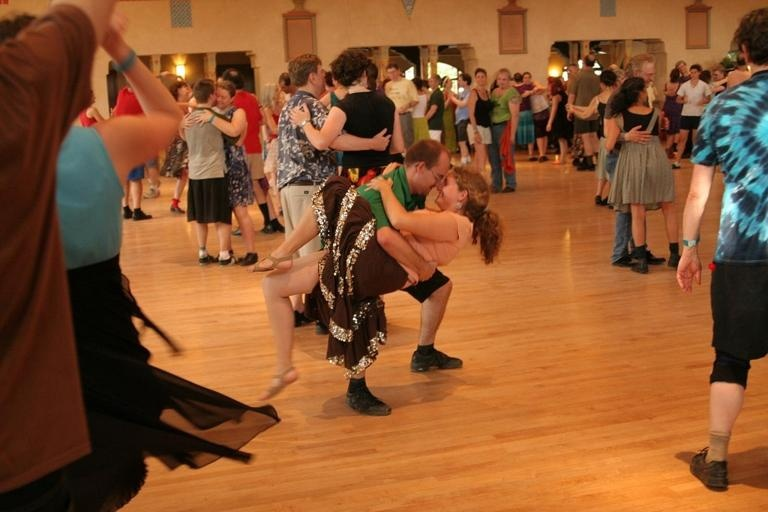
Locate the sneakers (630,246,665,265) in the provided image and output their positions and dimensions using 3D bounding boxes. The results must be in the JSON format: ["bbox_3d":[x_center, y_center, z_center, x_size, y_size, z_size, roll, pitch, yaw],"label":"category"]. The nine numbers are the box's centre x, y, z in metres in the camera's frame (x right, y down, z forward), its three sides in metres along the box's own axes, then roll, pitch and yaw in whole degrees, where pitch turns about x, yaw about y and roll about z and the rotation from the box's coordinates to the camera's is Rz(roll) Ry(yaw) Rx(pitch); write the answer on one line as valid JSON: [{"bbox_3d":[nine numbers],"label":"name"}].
[{"bbox_3d":[2.507,-0.004,6.157,0.465,0.190,0.155,-1,11,-3],"label":"sneakers"}]

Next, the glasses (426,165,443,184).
[{"bbox_3d":[0.285,-0.453,3.503,0.085,0.047,0.107,-8,0,-31],"label":"glasses"}]

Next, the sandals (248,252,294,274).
[{"bbox_3d":[-0.612,0.050,3.424,0.190,0.059,0.084,-4,5,-28],"label":"sandals"}]

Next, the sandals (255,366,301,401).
[{"bbox_3d":[-0.564,0.665,3.246,0.237,0.130,0.095,-16,20,-41],"label":"sandals"}]

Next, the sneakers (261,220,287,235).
[{"bbox_3d":[-1.400,-0.372,8.405,0.460,0.187,0.155,2,5,8],"label":"sneakers"}]

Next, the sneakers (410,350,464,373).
[{"bbox_3d":[0.332,0.661,4.121,0.340,0.152,0.139,-3,6,-14],"label":"sneakers"}]

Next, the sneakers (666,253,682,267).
[{"bbox_3d":[2.554,0.040,5.578,0.071,0.126,0.193,4,21,17],"label":"sneakers"}]

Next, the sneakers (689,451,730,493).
[{"bbox_3d":[1.442,0.966,2.863,0.095,0.115,0.236,-3,10,-2],"label":"sneakers"}]

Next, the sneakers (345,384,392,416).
[{"bbox_3d":[-0.087,0.795,3.591,0.289,0.192,0.121,9,15,35],"label":"sneakers"}]

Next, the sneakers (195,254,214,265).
[{"bbox_3d":[-1.970,0.036,6.953,0.077,0.090,0.214,1,17,11],"label":"sneakers"}]

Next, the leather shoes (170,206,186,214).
[{"bbox_3d":[-3.299,-0.750,10.214,0.111,0.133,0.325,11,11,18],"label":"leather shoes"}]

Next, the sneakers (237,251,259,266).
[{"bbox_3d":[-1.471,0.038,6.838,0.176,0.136,0.327,-1,4,-31],"label":"sneakers"}]

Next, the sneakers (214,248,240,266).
[{"bbox_3d":[-1.714,0.012,6.848,0.113,0.148,0.327,4,15,13],"label":"sneakers"}]
